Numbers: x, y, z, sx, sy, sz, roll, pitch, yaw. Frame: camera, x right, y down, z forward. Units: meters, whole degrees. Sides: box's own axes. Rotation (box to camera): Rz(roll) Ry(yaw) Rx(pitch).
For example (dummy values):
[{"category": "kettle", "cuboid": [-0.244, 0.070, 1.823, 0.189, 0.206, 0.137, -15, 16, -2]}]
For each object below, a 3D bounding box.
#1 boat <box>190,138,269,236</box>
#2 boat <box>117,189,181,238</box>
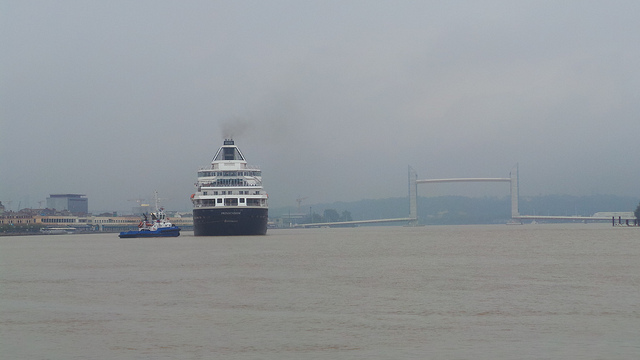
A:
[{"category": "boat", "cuboid": [-16.515, 3.145, 180.672, 13.720, 13.673, 13.102, 0, -5, 1]}, {"category": "boat", "cuboid": [-31.187, 7.538, 191.309, 7.977, 6.662, 10.429, 1, -5, -15]}]
